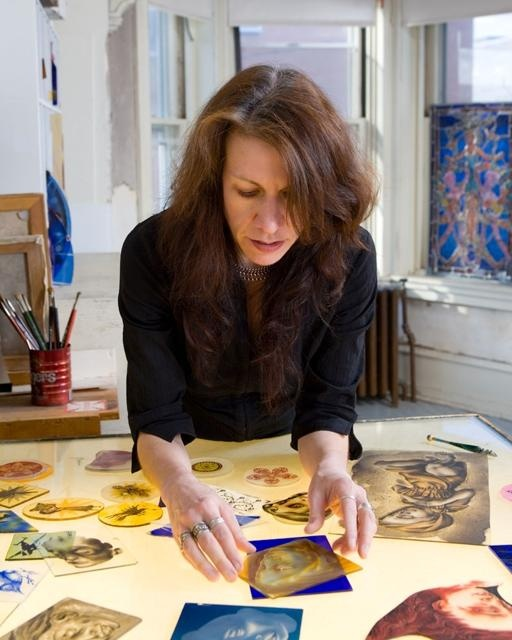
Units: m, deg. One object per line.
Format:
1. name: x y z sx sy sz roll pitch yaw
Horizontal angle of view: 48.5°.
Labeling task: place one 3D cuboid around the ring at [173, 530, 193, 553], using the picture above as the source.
1. ring: -0.087 0.260 0.667 0.017 0.014 0.021 -19 -25 -31

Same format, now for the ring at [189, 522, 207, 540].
1. ring: -0.069 0.248 0.672 0.017 0.017 0.017 22 -15 6

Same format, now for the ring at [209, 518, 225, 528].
1. ring: -0.046 0.242 0.678 0.012 0.013 0.013 13 -23 -15

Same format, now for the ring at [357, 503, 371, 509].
1. ring: 0.141 0.243 0.744 0.010 0.006 0.010 -3 -38 -2
